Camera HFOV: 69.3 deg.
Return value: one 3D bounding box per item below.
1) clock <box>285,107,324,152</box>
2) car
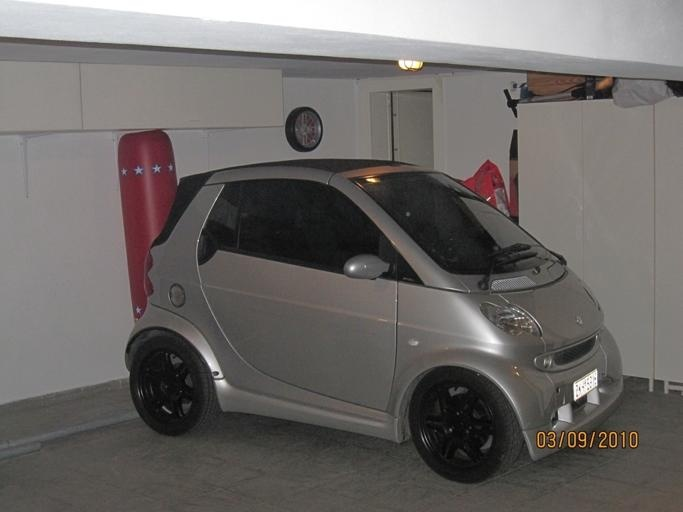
[{"bbox_3d":[-0.553,-1.841,7.185,0.597,0.650,0.129,-8,9,-39],"label":"clock"},{"bbox_3d":[0.185,0.224,4.187,3.321,1.994,1.998,6,11,27],"label":"car"}]
